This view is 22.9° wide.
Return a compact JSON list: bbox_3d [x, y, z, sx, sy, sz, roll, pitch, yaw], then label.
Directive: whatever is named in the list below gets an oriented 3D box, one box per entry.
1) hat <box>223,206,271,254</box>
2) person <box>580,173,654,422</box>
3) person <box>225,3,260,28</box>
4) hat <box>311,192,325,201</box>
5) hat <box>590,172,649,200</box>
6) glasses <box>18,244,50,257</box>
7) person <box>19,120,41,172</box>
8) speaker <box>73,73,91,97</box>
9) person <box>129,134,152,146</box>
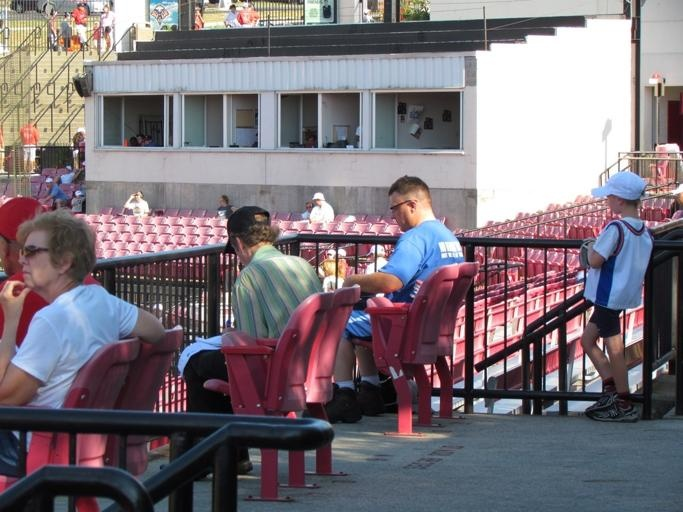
[{"bbox_3d":[-1.291,-0.388,22.076,0.553,0.612,0.873,6,-11,-40],"label":"hat"},{"bbox_3d":[3.751,0.578,23.065,0.981,3.444,0.539,-2,2,9],"label":"person"},{"bbox_3d":[-3.045,-7.362,51.762,0.959,0.902,1.383,-2,1,-1],"label":"person"},{"bbox_3d":[-0.501,-1.414,39.666,0.250,0.168,0.198,11,-9,-27],"label":"hat"},{"bbox_3d":[3.813,-0.953,23.126,0.577,0.359,0.397,-1,5,26],"label":"hat"},{"bbox_3d":[-3.760,-0.062,20.835,0.335,0.132,0.077,-2,2,19],"label":"glasses"},{"bbox_3d":[-9.322,-3.029,50.566,0.500,1.798,0.472,1,-17,-5],"label":"person"},{"bbox_3d":[-6.625,-4.420,43.374,0.379,0.612,0.643,-3,2,-23],"label":"speaker"},{"bbox_3d":[-5.145,-3.043,43.990,0.404,0.336,0.861,-5,3,-44],"label":"person"}]
